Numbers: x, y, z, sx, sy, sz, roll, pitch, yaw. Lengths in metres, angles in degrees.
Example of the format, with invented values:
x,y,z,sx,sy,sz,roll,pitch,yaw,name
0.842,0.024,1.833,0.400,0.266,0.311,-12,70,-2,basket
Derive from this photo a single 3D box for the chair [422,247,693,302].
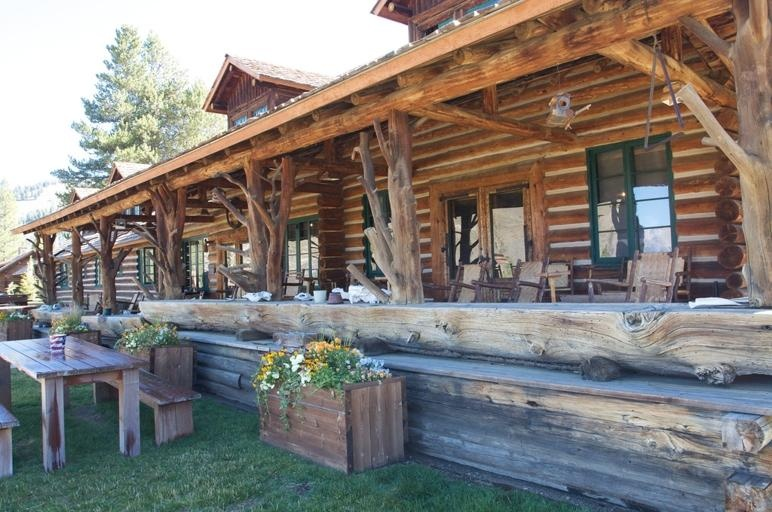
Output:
x,y,z,sx,sy,sz,roll,pitch,yaw,name
2.396,0.299,7.578,3.013,0.821,1.456,0,6,38,chair

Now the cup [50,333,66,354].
x,y,z,sx,sy,sz,roll,pitch,yaw,name
-3.873,1.061,6.614,0.224,0.215,0.215,1,-5,0,cup

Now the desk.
x,y,z,sx,sy,sz,roll,pitch,yaw,name
-3.609,1.630,6.398,2.048,1.047,1.010,1,7,45,desk

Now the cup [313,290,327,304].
x,y,z,sx,sy,sz,roll,pitch,yaw,name
-0.980,0.588,8.001,0.198,0.140,0.174,-1,-4,13,cup

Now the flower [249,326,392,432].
x,y,z,sx,sy,sz,roll,pitch,yaw,name
-0.578,1.153,5.738,1.086,0.603,1.078,-1,0,-42,flower

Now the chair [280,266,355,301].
x,y,z,sx,sy,sz,roll,pitch,yaw,name
-1.481,0.558,11.648,0.786,0.935,1.417,-5,-7,36,chair

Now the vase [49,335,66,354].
x,y,z,sx,sy,sz,roll,pitch,yaw,name
-3.932,1.055,6.558,0.218,0.215,0.220,0,-8,2,vase

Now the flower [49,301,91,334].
x,y,z,sx,sy,sz,roll,pitch,yaw,name
-6.802,1.317,11.833,0.745,0.501,0.643,1,-4,-18,flower

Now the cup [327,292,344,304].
x,y,z,sx,sy,sz,roll,pitch,yaw,name
-0.684,0.571,7.438,0.170,0.109,0.151,-4,-7,44,cup
